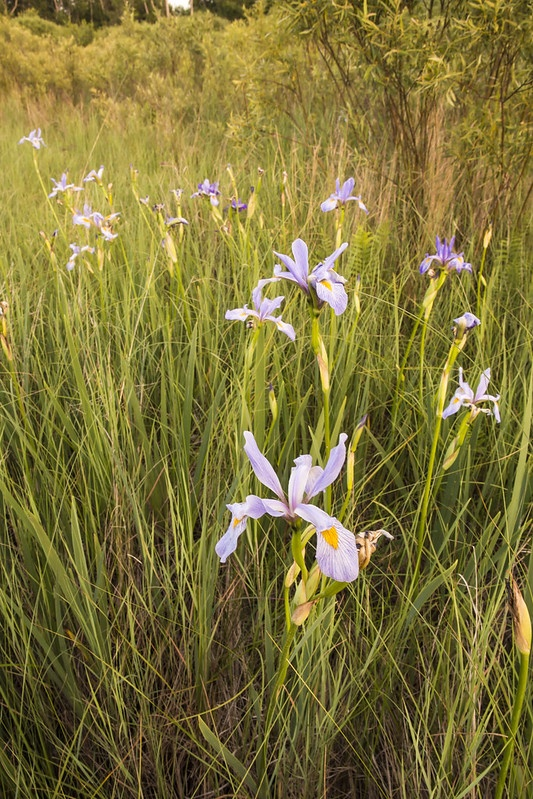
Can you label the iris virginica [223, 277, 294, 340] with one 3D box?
[{"bbox_3d":[-0.017,-0.197,1.359,0.117,0.083,0.113,27,27,34],"label":"iris virginica"}]
